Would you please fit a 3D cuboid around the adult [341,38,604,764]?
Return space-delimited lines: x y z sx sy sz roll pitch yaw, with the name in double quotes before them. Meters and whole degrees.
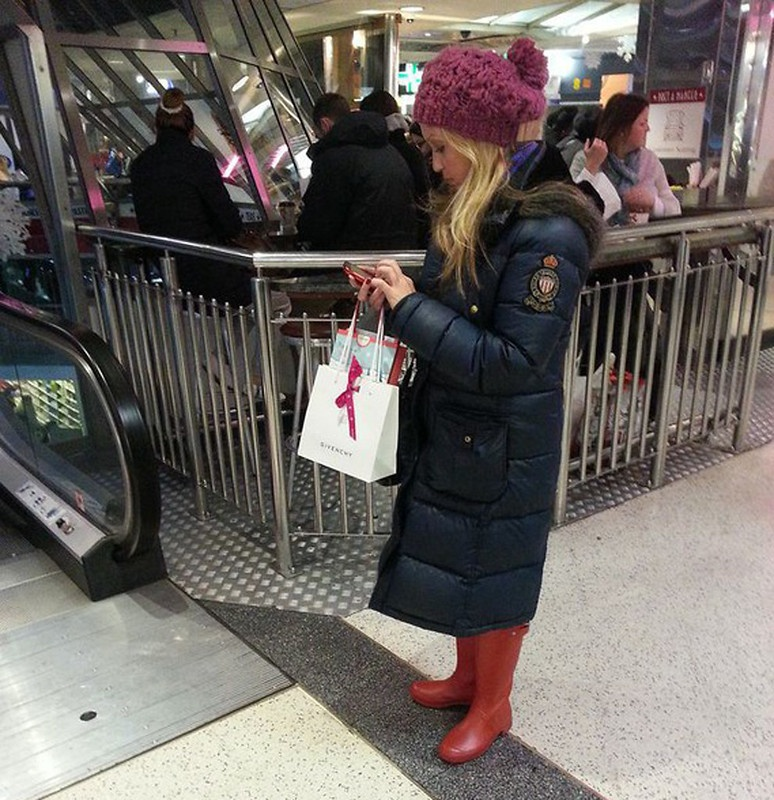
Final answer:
"adult" 0.168 0.106 1.483 0.518 1.671 0.691 7 32 16

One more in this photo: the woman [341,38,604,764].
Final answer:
"woman" 0.164 0.110 1.474 0.518 1.671 0.670 7 32 16

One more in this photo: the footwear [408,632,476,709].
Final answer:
"footwear" 0.175 0.768 1.782 0.221 0.177 0.100 4 2 -4

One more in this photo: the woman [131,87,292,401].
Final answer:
"woman" -1.103 -0.930 3.847 0.615 1.730 0.925 -20 35 -26

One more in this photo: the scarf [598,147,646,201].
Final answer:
"scarf" 1.409 -1.343 3.746 0.344 0.293 0.102 2 16 5

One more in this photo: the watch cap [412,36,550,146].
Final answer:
"watch cap" 0.192 -0.623 1.291 0.274 0.197 0.206 2 30 8

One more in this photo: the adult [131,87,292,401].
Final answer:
"adult" -1.103 -0.932 3.847 0.615 1.726 0.924 -20 35 -26
